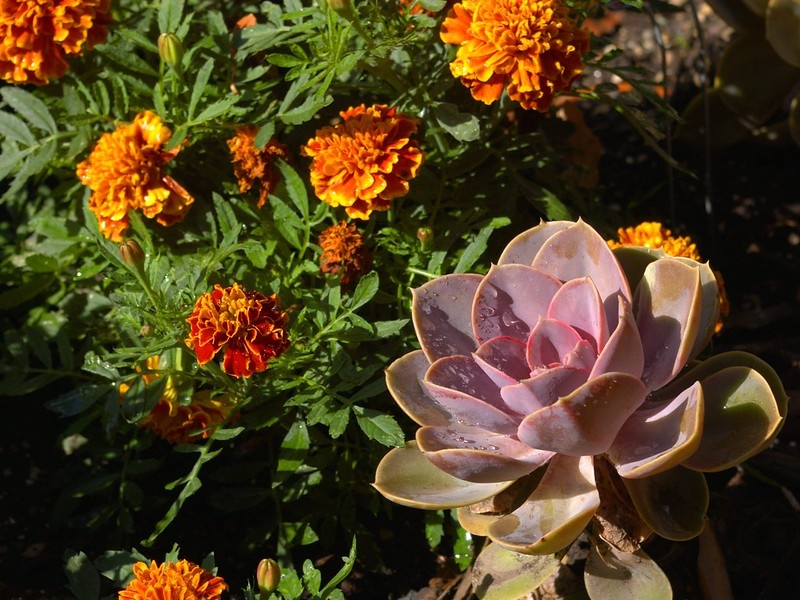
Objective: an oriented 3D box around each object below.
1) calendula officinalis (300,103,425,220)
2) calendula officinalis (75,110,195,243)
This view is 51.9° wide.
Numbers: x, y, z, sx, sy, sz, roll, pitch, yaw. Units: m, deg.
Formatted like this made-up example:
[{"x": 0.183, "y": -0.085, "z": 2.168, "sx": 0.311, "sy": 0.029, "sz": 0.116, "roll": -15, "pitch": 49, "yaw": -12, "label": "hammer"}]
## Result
[{"x": -0.062, "y": -0.286, "z": 1.622, "sx": 0.238, "sy": 0.222, "sz": 0.089, "roll": 18, "pitch": -19, "yaw": 19, "label": "calendula officinalis"}, {"x": -0.550, "y": -0.256, "z": 1.685, "sx": 0.219, "sy": 0.217, "sz": 0.181, "roll": -9, "pitch": 4, "yaw": -13, "label": "calendula officinalis"}]
